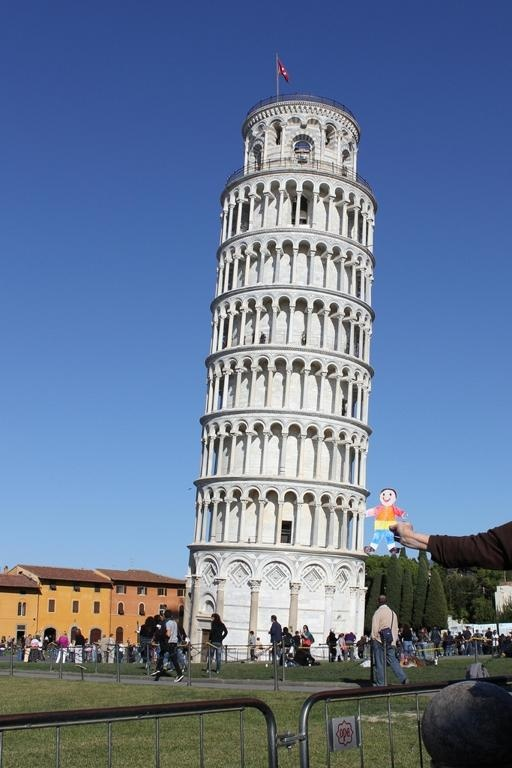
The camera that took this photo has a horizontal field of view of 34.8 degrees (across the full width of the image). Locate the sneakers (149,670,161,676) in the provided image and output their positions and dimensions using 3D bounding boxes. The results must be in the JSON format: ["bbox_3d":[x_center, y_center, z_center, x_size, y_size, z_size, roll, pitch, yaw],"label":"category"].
[{"bbox_3d":[-2.438,7.001,19.726,0.186,0.214,0.508,0,-17,0],"label":"sneakers"}]
